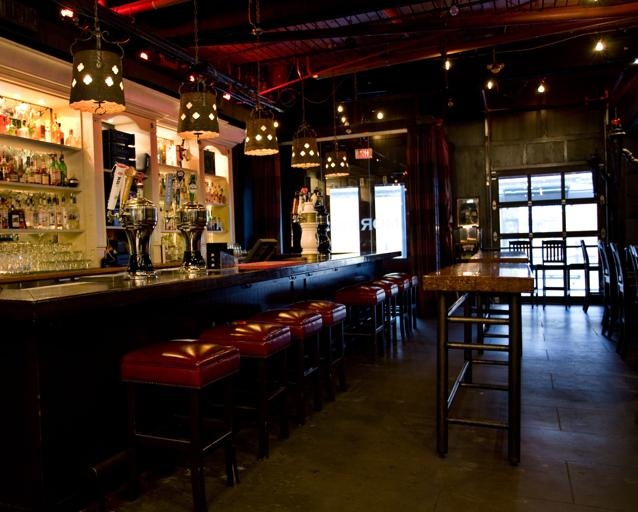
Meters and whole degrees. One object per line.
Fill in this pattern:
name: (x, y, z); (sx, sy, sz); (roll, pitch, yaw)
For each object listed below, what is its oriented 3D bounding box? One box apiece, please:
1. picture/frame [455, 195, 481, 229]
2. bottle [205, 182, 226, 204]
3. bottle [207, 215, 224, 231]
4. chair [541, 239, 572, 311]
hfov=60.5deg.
picture/frame: (2.449, -0.712, 9.011); (0.507, 0.737, 0.073); (-2, -3, 15)
bottle: (-1.461, -0.892, 7.671); (0.314, 0.465, 0.136); (0, 0, -30)
bottle: (-1.455, -0.442, 7.615); (0.142, 0.223, 0.366); (0, 5, 16)
chair: (3.811, 0.232, 8.827); (0.414, 0.986, 1.002); (1, 5, 25)
